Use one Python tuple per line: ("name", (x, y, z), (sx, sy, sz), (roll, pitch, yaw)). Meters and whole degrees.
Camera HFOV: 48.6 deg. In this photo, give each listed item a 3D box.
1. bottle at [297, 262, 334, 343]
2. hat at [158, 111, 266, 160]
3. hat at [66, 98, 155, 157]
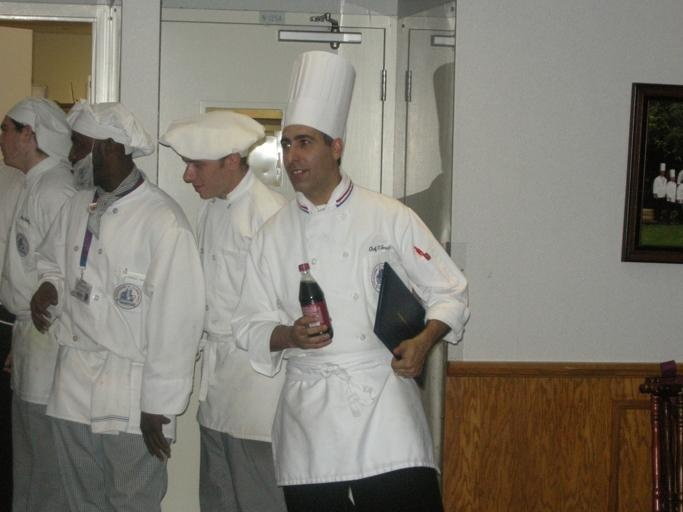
("bottle", (-0.112, 0.175, 3.017), (0.169, 0.281, 0.173), (3, 6, 0))
("hat", (-0.614, -0.574, 3.581), (0.303, 0.103, 0.309), (-4, 23, 1))
("hat", (-1.069, -0.615, 3.476), (0.318, 0.165, 0.254), (35, 33, 6))
